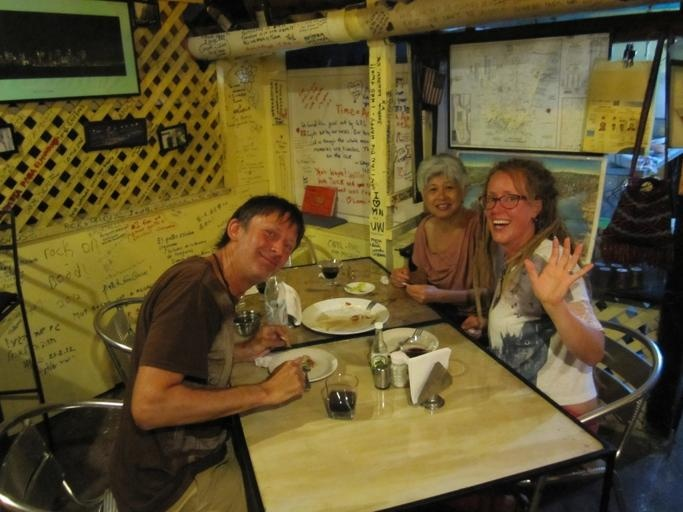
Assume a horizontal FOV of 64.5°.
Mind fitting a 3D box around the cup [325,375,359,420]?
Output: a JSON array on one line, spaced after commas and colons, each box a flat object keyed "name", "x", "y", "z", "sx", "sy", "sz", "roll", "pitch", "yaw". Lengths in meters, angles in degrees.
[{"name": "cup", "x": 0.005, "y": 0.559, "z": 2.142, "sx": 0.122, "sy": 0.108, "sz": 0.142, "roll": -1, "pitch": 7, "yaw": -5}]

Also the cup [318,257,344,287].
[{"name": "cup", "x": -0.060, "y": 0.081, "z": 3.155, "sx": 0.141, "sy": 0.113, "sz": 0.143, "roll": -1, "pitch": 11, "yaw": 0}]

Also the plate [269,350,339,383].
[{"name": "plate", "x": -0.140, "y": 0.475, "z": 2.373, "sx": 0.172, "sy": 0.018, "sz": 0.160, "roll": -7, "pitch": 24, "yaw": -14}]

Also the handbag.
[{"name": "handbag", "x": 1.585, "y": -0.256, "z": 2.872, "sx": 0.344, "sy": 0.387, "sz": 0.160, "roll": 5, "pitch": 26, "yaw": 19}]

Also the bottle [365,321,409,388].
[{"name": "bottle", "x": 0.195, "y": 0.434, "z": 2.313, "sx": 0.191, "sy": 0.319, "sz": 0.107, "roll": -16, "pitch": 31, "yaw": -25}]
